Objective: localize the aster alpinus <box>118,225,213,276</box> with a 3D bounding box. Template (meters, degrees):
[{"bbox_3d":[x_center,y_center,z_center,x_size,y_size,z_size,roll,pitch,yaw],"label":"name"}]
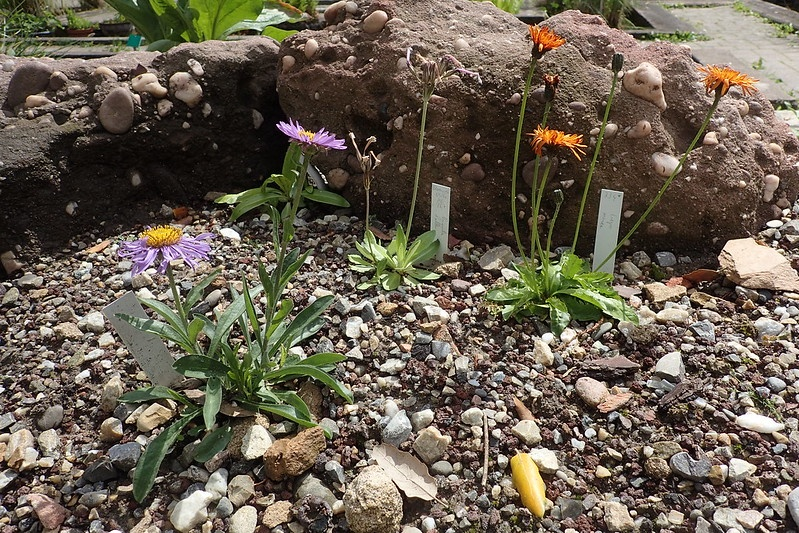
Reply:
[{"bbox_3d":[-0.966,-0.014,2.280,0.301,0.174,0.311,-11,36,-16],"label":"aster alpinus"}]

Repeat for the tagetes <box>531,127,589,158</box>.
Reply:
[{"bbox_3d":[0.838,-0.644,2.791,0.213,0.087,0.216,15,9,-12],"label":"tagetes"}]
